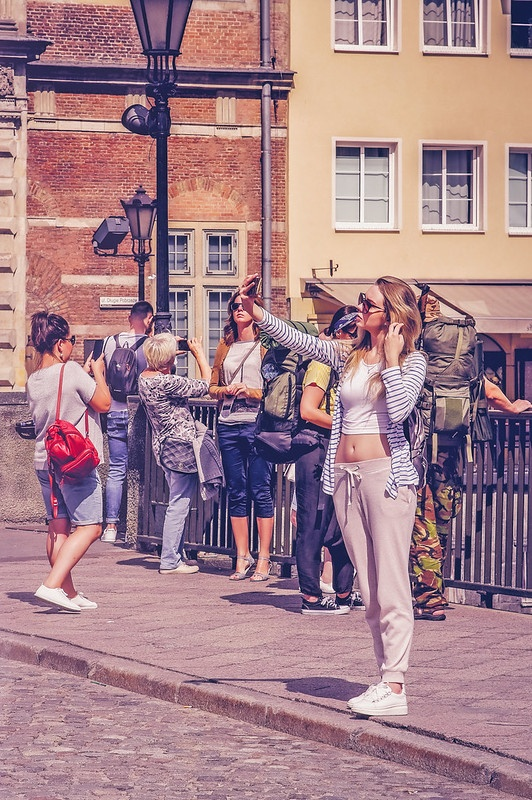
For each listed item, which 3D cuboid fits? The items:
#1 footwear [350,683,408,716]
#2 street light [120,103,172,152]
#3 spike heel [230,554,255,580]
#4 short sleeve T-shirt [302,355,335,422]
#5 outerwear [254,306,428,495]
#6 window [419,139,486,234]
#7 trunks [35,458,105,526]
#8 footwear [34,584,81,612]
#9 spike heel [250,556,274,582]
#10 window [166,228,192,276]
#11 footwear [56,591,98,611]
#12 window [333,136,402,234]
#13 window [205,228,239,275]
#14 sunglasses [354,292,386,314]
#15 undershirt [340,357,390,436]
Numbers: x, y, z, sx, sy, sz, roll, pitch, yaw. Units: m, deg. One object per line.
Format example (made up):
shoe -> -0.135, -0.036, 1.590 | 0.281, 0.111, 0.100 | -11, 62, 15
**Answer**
footwear -> 0.533, 1.398, 9.040 | 0.210, 0.156, 0.144 | 2, -9, 0
street light -> -0.893, -2.139, 14.777 | 0.288, 0.419, 0.913 | -9, 13, -8
spike heel -> -0.149, 1.135, 13.250 | 0.081, 0.127, 0.266 | -3, 2, 13
short sleeve T-shirt -> 0.331, -0.080, 11.373 | 0.213, 0.514, 0.330 | 1, 1, -11
outerwear -> 0.222, 0.028, 9.364 | 0.973, 1.163, 0.639 | -2, 2, -10
window -> 2.661, -3.089, 27.864 | 1.081, 1.784, 0.090 | 1, -3, -22
trunks -> -1.188, 0.603, 11.823 | 0.444, 0.548, 0.276 | -2, 2, 33
footwear -> -1.229, 1.190, 11.616 | 0.107, 0.179, 0.307 | 2, 1, 44
spike heel -> -0.030, 1.140, 13.159 | 0.118, 0.160, 0.392 | -1, -4, 5
window -> -1.147, -2.016, 26.412 | 0.301, 0.582, 0.195 | 1, 1, -2
footwear -> -1.128, 1.237, 11.842 | 0.202, 0.097, 0.088 | 11, 7, -35
window -> 1.406, -3.040, 27.409 | 1.066, 1.733, 0.162 | -2, 1, -12
window -> -0.600, -2.053, 26.452 | 0.481, 0.733, 0.044 | -1, 9, -1
sunglasses -> 0.514, -0.458, 9.162 | 0.092, 0.037, 0.087 | 16, 5, -18
undershirt -> 0.477, -0.013, 9.094 | 0.220, 0.366, 0.168 | -11, -22, 32
